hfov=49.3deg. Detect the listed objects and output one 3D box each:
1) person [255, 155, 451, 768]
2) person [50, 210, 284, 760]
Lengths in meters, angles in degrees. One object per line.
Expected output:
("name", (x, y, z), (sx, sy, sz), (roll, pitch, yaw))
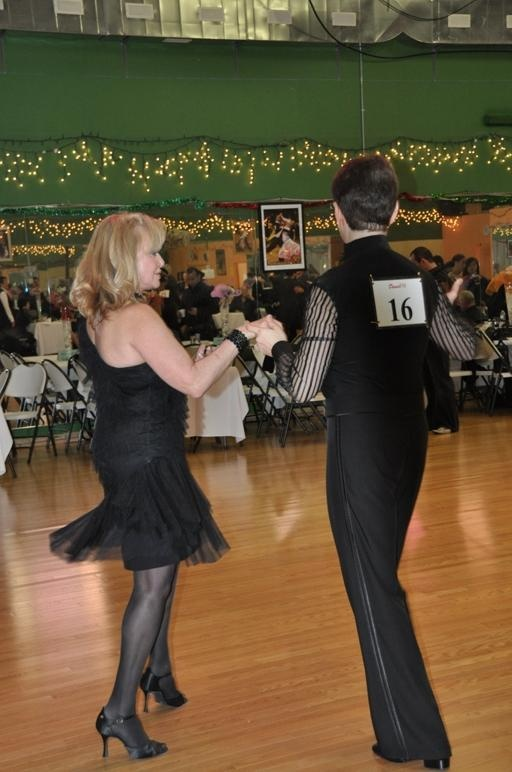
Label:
("person", (0.257, 0.218, 1.203), (0.390, 1.359, 0.325), (-3, -3, -18))
("person", (-0.234, 0.279, 1.340), (0.568, 1.349, 0.365), (-3, -3, -8))
